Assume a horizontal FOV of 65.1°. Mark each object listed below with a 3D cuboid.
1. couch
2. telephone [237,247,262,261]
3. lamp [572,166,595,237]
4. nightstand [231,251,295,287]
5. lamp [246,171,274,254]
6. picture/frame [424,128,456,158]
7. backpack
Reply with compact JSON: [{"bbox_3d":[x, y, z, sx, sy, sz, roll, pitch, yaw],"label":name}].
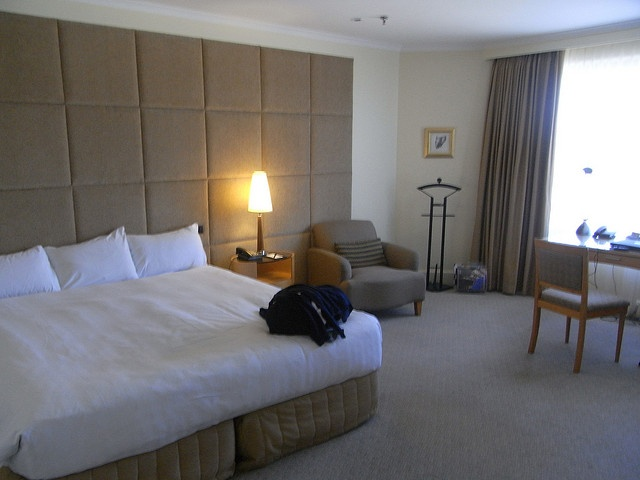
[{"bbox_3d":[0.439,0.258,5.563,1.045,1.154,1.093,-3,4,-31],"label":"couch"},{"bbox_3d":[-0.738,0.145,5.161,0.186,0.073,0.143,-1,4,37],"label":"telephone"},{"bbox_3d":[2.858,-0.427,5.387,0.158,0.705,0.745,7,13,27],"label":"lamp"},{"bbox_3d":[-0.572,0.317,5.260,0.481,0.396,0.384,-7,11,-39],"label":"nightstand"},{"bbox_3d":[-0.627,-0.288,5.294,0.260,0.874,0.389,-1,12,-6],"label":"lamp"},{"bbox_3d":[1.530,-1.246,6.349,0.330,0.377,0.029,1,7,3],"label":"picture/frame"},{"bbox_3d":[-0.030,0.511,3.537,0.503,0.189,0.387,-2,9,-44],"label":"backpack"}]
